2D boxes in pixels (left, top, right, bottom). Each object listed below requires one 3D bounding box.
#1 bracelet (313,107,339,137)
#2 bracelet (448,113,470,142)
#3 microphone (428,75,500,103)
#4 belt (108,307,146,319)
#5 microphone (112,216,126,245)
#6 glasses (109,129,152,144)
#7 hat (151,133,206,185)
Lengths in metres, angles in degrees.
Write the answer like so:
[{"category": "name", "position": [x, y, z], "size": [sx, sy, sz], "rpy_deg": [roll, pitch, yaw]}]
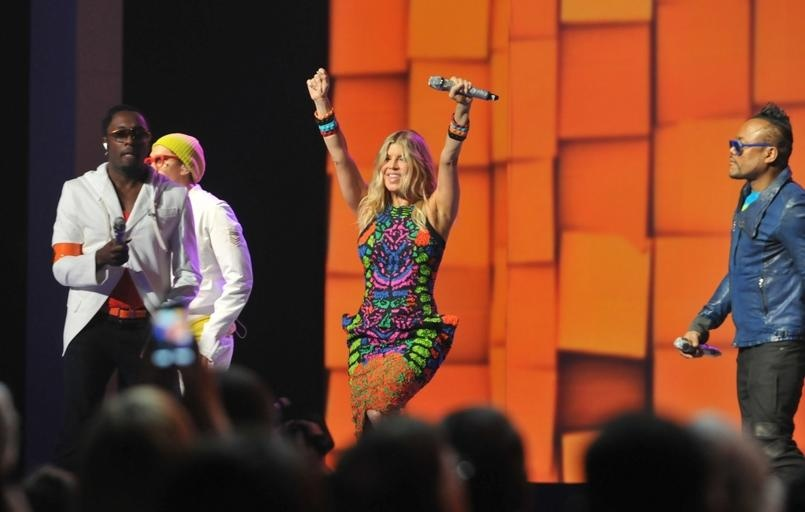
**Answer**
[{"category": "bracelet", "position": [-0.460, -0.854, 9.686], "size": [0.160, 0.173, 0.164], "rpy_deg": [-13, 4, 0]}, {"category": "bracelet", "position": [0.351, -0.795, 9.469], "size": [0.126, 0.142, 0.160], "rpy_deg": [7, 2, 1]}, {"category": "microphone", "position": [0.387, -1.086, 9.842], "size": [0.490, 0.119, 0.111], "rpy_deg": [19, -25, 3]}, {"category": "belt", "position": [-1.693, 0.361, 9.399], "size": [0.223, 0.067, 0.039], "rpy_deg": [7, -5, -4]}, {"category": "microphone", "position": [-1.733, -0.160, 9.337], "size": [0.085, 0.182, 0.259], "rpy_deg": [8, -5, -10]}, {"category": "glasses", "position": [-1.684, -0.757, 9.409], "size": [0.235, 0.106, 0.058], "rpy_deg": [8, -5, -13]}, {"category": "hat", "position": [-1.429, -0.707, 10.102], "size": [0.313, 0.360, 0.267], "rpy_deg": [-38, 24, -26]}]
